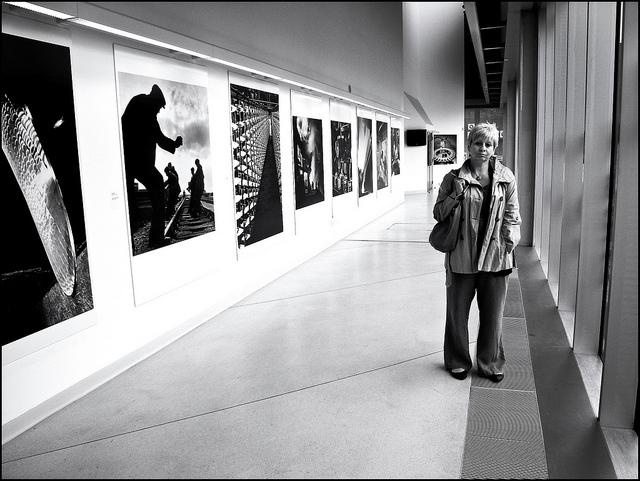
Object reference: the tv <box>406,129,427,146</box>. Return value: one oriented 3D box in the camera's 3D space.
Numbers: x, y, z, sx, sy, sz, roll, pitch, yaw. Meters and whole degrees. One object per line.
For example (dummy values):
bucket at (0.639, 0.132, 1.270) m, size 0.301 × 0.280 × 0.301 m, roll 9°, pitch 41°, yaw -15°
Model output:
tv at (5.531, -5.844, 24.125) m, size 1.205 × 1.026 × 0.568 m, roll -2°, pitch 13°, yaw 7°

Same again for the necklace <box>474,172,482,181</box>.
necklace at (1.364, -0.544, 3.592) m, size 0.043 × 0.063 × 0.033 m, roll -6°, pitch 1°, yaw 14°

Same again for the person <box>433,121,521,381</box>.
person at (1.368, 0.149, 3.728) m, size 0.715 × 2.266 × 0.347 m, roll 2°, pitch 14°, yaw 23°
